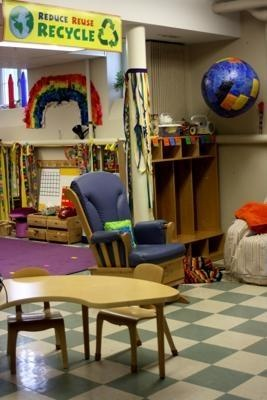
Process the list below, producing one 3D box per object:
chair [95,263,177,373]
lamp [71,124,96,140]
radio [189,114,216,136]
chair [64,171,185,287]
[{"bbox_3d":[0.016,0.674,1.895,0.418,0.554,0.406,4,-7,-25],"label":"chair"},{"bbox_3d":[-1.165,-1.519,6.944,0.338,0.497,0.208,14,16,28],"label":"lamp"},{"bbox_3d":[1.137,-1.289,5.460,0.466,0.458,0.358,-11,15,-22],"label":"radio"},{"bbox_3d":[-0.050,0.301,3.257,1.028,1.205,0.853,-1,4,36],"label":"chair"}]
